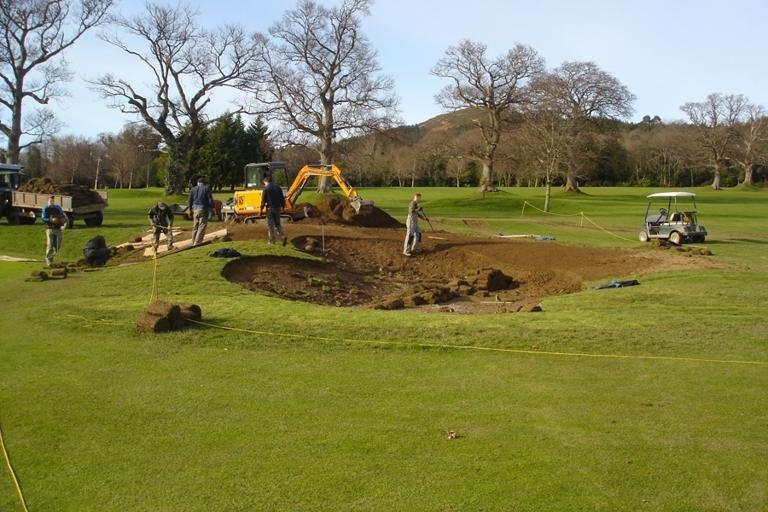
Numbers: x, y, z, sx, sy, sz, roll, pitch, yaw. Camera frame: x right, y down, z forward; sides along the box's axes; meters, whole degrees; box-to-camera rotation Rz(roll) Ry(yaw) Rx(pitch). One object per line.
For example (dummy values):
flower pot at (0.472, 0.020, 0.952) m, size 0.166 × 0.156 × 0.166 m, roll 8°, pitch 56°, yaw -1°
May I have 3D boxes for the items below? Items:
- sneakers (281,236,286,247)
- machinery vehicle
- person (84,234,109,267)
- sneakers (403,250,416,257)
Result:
sneakers at (-3.307, -0.478, 21.440) m, size 0.125 × 0.317 × 0.141 m, roll 2°, pitch 13°, yaw -19°
machinery vehicle at (-3.572, -2.697, 28.188) m, size 5.897 × 2.507 × 2.090 m, roll -1°, pitch 9°, yaw 12°
person at (-9.173, -0.133, 20.680) m, size 0.760 × 0.729 × 1.313 m, roll -6°, pitch 14°, yaw -20°
sneakers at (0.950, -0.054, 24.105) m, size 0.450 × 0.282 × 0.150 m, roll -1°, pitch 6°, yaw 17°
